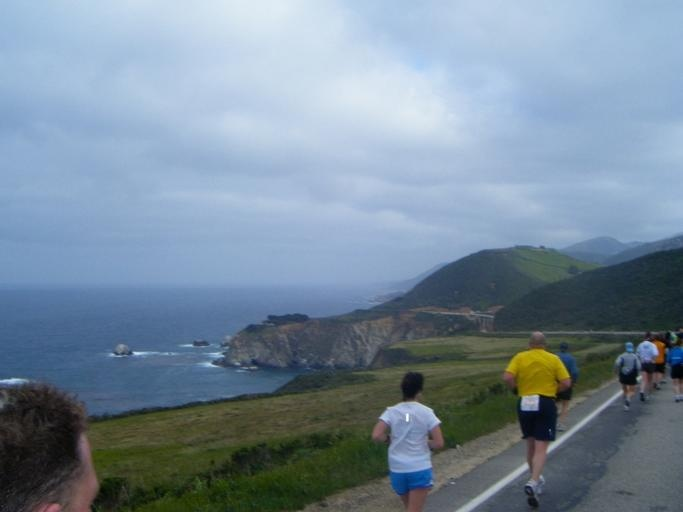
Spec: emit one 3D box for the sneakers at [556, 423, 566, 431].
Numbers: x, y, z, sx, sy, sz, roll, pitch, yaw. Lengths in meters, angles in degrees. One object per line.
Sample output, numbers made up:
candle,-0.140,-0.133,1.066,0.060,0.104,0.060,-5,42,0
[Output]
sneakers,5.784,4.500,13.629,0.289,0.123,0.118,-3,-3,12
